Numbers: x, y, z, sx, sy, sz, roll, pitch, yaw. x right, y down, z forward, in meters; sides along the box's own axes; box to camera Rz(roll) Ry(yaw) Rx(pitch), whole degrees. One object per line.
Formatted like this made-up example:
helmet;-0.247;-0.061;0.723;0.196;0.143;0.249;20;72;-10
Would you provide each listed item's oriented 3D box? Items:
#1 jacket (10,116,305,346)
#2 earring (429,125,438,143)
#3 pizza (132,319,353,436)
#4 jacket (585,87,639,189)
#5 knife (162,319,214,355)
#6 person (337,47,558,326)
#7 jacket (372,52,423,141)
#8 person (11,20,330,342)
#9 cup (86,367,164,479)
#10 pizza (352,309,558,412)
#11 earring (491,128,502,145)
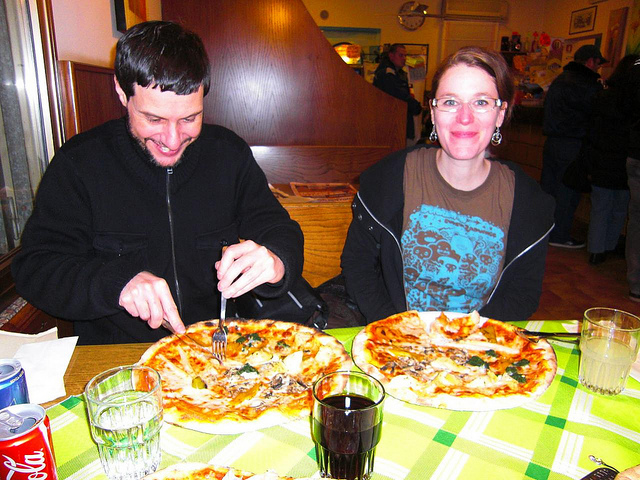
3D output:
jacket;-0.591;-0.016;1.784;1.026;0.821;0.692;-10;37;-29
earring;0.502;-0.461;2.010;0.033;0.077;0.033;-7;44;-3
pizza;-0.210;0.341;1.212;0.558;0.594;0.089;11;49;-15
jacket;2.582;-0.884;4.001;0.381;0.880;0.298;15;27;32
knife;-0.370;0.274;1.281;0.163;0.019;0.019;37;26;-9
person;0.512;-0.215;1.808;0.787;1.006;0.653;10;25;24
jacket;0.988;-1.833;5.969;0.557;1.122;0.894;10;25;24
person;-0.470;-0.161;1.598;0.899;1.096;0.867;11;26;25
cup;-0.384;0.386;0.920;0.136;0.192;0.177;-8;24;-17
pizza;0.368;0.330;1.223;0.288;0.042;0.299;3;16;21
earring;0.762;-0.444;1.962;0.045;0.067;0.021;5;2;25
